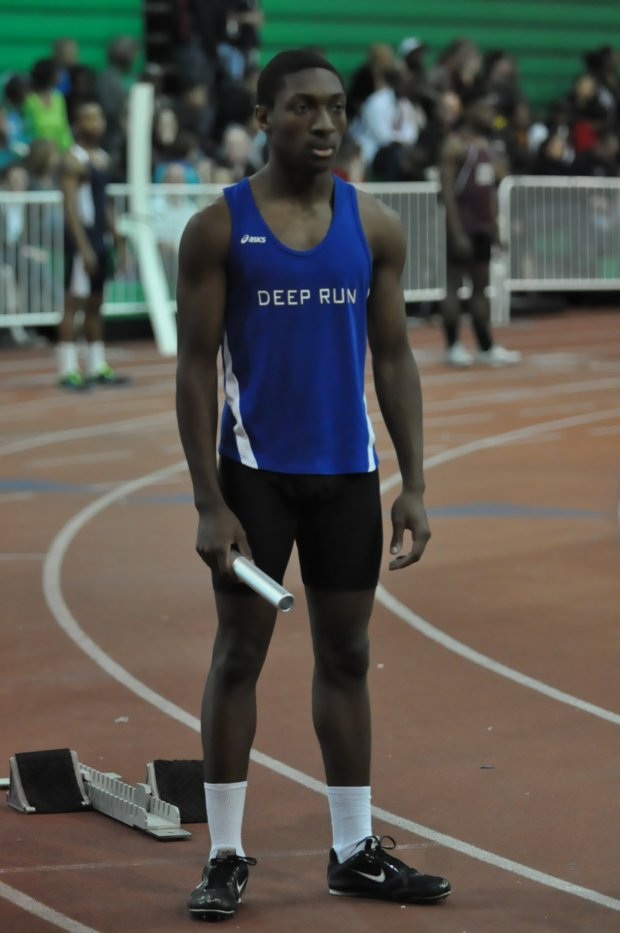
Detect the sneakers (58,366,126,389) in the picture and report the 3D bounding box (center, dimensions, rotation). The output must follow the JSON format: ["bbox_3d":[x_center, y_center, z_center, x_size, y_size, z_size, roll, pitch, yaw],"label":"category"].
[{"bbox_3d":[-1.928,-0.738,9.474,0.596,0.241,0.212,-5,-1,-7],"label":"sneakers"}]

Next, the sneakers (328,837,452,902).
[{"bbox_3d":[0.147,0.821,2.217,0.319,0.138,0.103,-2,-9,21],"label":"sneakers"}]

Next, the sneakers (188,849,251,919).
[{"bbox_3d":[-0.163,0.798,2.065,0.093,0.094,0.230,0,-6,10],"label":"sneakers"}]

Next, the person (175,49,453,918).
[{"bbox_3d":[0.003,0.060,2.124,0.521,1.692,0.396,-1,11,-7],"label":"person"}]
